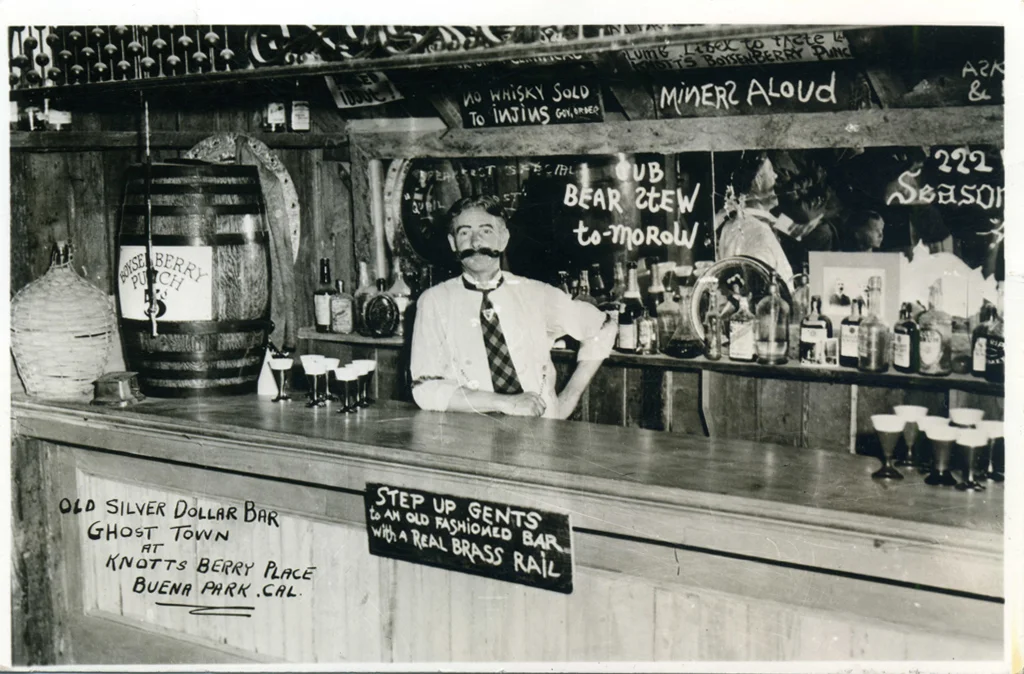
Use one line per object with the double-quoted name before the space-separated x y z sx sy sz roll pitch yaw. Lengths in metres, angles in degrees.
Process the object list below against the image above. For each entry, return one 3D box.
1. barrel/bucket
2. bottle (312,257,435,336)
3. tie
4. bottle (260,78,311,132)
"barrel/bucket" -1.516 -0.274 5.288 0.779 1.103 0.770 2 6 0
"bottle" -0.644 -0.186 5.225 0.357 0.340 0.142 4 2 17
"tie" -0.090 0.001 4.992 0.289 0.517 0.064 3 4 22
"bottle" -1.091 -1.084 5.157 0.245 0.230 0.060 -2 6 2
